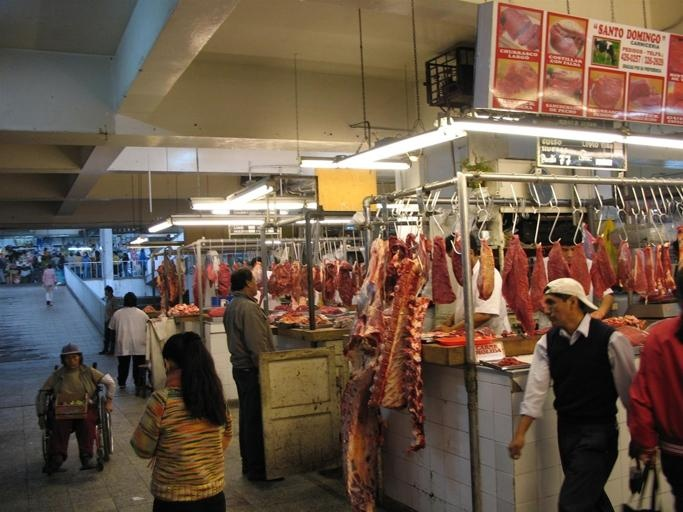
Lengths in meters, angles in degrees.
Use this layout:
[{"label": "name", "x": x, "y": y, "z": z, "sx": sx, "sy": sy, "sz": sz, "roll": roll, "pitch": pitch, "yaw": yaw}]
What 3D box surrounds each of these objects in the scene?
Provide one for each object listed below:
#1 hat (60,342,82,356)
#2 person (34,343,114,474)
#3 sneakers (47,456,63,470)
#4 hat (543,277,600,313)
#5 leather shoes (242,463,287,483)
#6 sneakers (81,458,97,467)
[{"label": "hat", "x": -3.409, "y": 1.182, "z": 7.018, "sx": 0.260, "sy": 0.155, "sz": 0.330, "roll": 0, "pitch": -11, "yaw": -17}, {"label": "person", "x": -3.365, "y": 1.977, "z": 7.401, "sx": 1.105, "sy": 2.003, "sz": 1.472, "roll": 0, "pitch": -8, "yaw": -23}, {"label": "sneakers", "x": -3.505, "y": 2.547, "z": 6.783, "sx": 0.142, "sy": 0.162, "sz": 0.175, "roll": 5, "pitch": -36, "yaw": -5}, {"label": "hat", "x": 1.753, "y": 0.287, "z": 4.249, "sx": 0.341, "sy": 0.197, "sz": 0.223, "roll": 10, "pitch": -14, "yaw": 12}, {"label": "leather shoes", "x": -0.924, "y": 2.458, "z": 6.258, "sx": 0.551, "sy": 0.187, "sz": 0.197, "roll": -3, "pitch": 0, "yaw": 19}, {"label": "sneakers", "x": -3.129, "y": 2.555, "z": 6.867, "sx": 0.158, "sy": 0.124, "sz": 0.167, "roll": -3, "pitch": 0, "yaw": -27}]
